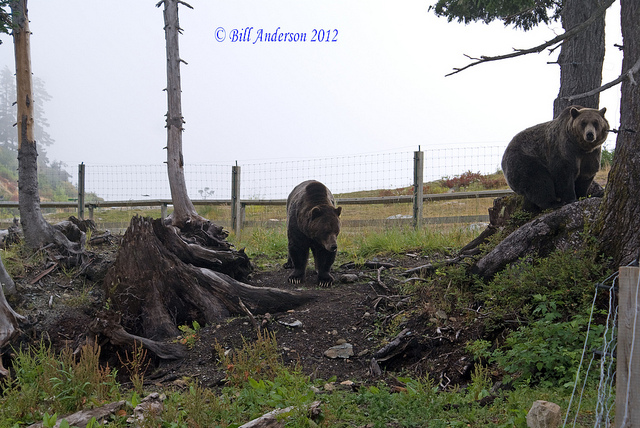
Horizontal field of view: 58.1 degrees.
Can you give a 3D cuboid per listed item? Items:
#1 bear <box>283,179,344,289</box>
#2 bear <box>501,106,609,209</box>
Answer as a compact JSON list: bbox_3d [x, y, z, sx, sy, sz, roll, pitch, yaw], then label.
[{"bbox_3d":[-0.246,0.334,12.394,0.904,2.176,3.148,0,11,-13],"label":"bear"},{"bbox_3d":[4.226,-0.932,10.229,1.135,1.733,2.150,-5,-5,-17],"label":"bear"}]
